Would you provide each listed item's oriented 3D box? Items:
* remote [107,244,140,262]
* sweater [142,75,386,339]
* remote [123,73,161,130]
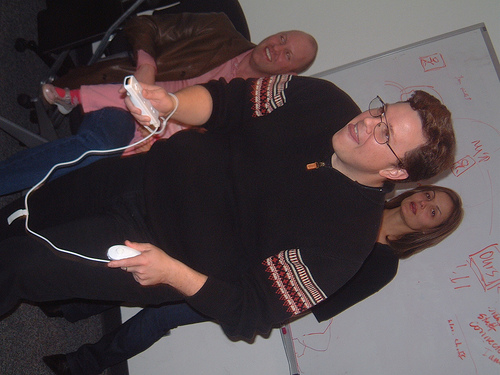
[{"bbox_3d":[-0.434,0.226,1.472,0.089,0.058,0.030,9,1,-28],"label":"remote"},{"bbox_3d":[0.083,-0.008,1.790,0.903,0.264,1.014,-14,78,-2],"label":"sweater"},{"bbox_3d":[-0.372,-0.308,1.585,0.049,0.201,0.109,-19,43,16],"label":"remote"}]
